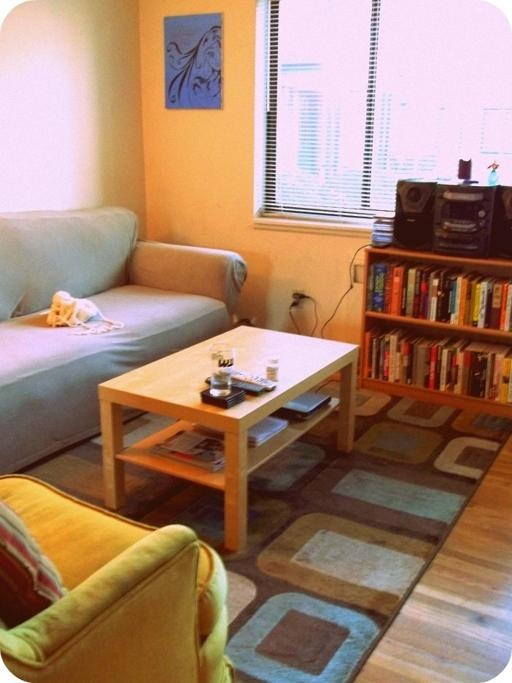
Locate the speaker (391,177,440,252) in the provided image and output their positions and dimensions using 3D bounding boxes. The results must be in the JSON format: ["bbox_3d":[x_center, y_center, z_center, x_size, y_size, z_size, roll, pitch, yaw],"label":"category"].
[{"bbox_3d":[0.851,-0.651,3.006,0.267,0.347,0.246,5,17,12],"label":"speaker"}]

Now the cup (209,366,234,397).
[{"bbox_3d":[-0.115,0.125,1.825,0.064,0.077,0.060,1,15,0],"label":"cup"}]

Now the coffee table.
[{"bbox_3d":[-0.038,0.297,2.285,0.641,0.459,1.020,7,16,28],"label":"coffee table"}]

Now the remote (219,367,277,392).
[{"bbox_3d":[-0.028,0.107,1.961,0.145,0.024,0.088,20,28,36],"label":"remote"}]

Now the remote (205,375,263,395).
[{"bbox_3d":[-0.046,0.140,1.952,0.123,0.027,0.090,20,30,34],"label":"remote"}]

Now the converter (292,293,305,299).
[{"bbox_3d":[0.267,-0.290,3.619,0.086,0.046,0.011,6,17,20],"label":"converter"}]
